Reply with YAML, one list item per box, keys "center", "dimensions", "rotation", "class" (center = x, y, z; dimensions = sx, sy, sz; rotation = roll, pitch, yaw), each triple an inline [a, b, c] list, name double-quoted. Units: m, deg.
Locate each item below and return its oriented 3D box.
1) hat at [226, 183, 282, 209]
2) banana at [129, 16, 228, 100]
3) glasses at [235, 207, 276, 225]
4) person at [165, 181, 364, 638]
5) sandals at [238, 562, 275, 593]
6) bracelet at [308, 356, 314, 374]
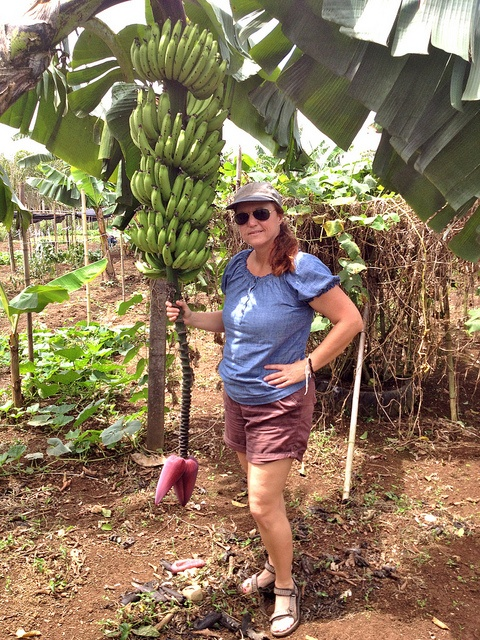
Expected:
- center: [0.060, -0.535, 2.193]
  dimensions: [0.231, 0.109, 0.142]
  rotation: [1, 5, 1]
  class: "hat"
- center: [-0.305, -1.188, 2.273]
  dimensions: [0.251, 0.203, 0.254]
  rotation: [6, 35, 26]
  class: "banana"
- center: [0.050, -0.435, 2.188]
  dimensions: [0.163, 0.070, 0.048]
  rotation: [3, 6, 33]
  class: "glasses"
- center: [0.099, 0.382, 2.264]
  dimensions: [0.755, 1.942, 0.390]
  rotation: [4, 7, 33]
  class: "person"
- center: [0.108, 1.225, 2.451]
  dimensions: [0.210, 0.077, 0.059]
  rotation: [-32, -6, 11]
  class: "sandals"
- center: [0.294, 0.188, 2.149]
  dimensions: [0.020, 0.066, 0.026]
  rotation: [1, 6, 6]
  class: "bracelet"
